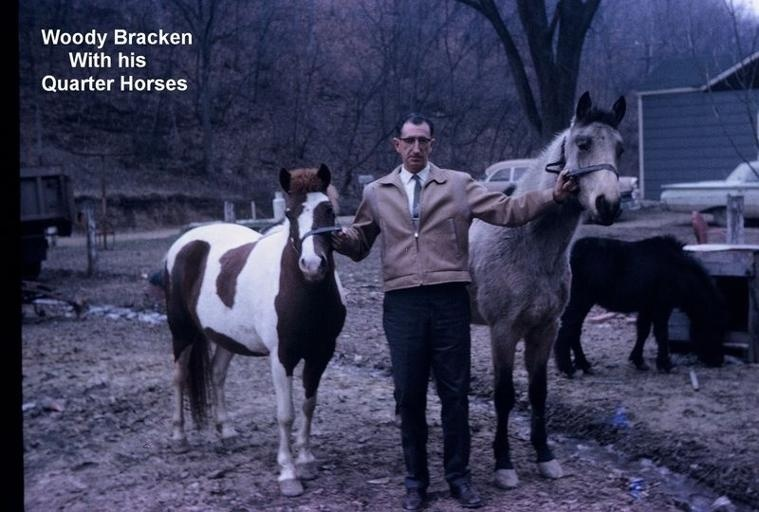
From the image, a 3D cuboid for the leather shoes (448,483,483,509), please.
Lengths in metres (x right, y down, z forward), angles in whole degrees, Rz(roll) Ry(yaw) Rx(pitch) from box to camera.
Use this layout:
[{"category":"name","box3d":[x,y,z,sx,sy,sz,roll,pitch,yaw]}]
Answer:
[{"category":"leather shoes","box3d":[0.831,2.312,7.503,0.158,0.175,0.348,-3,0,-30]}]

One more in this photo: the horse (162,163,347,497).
[{"category":"horse","box3d":[-1.323,0.693,8.117,2.193,3.251,0.742,3,6,36]}]

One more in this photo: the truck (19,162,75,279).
[{"category":"truck","box3d":[-4.738,-0.564,11.082,0.935,1.649,0.643,-1,-6,16]}]
